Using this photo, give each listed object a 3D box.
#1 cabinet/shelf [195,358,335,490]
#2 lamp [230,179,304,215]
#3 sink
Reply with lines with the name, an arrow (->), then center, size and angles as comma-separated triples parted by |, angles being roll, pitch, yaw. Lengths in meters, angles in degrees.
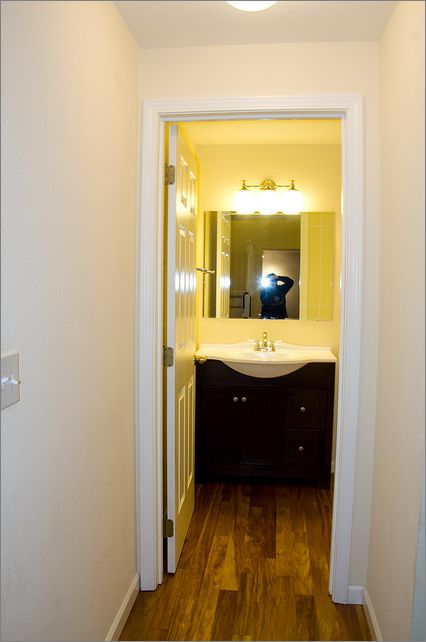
cabinet/shelf -> 0.313, 0.601, 2.786 | 0.574, 0.777, 0.273 | 1, 1, 5
lamp -> 0.370, -0.834, 3.068 | 0.459, 0.226, 0.117 | 1, 2, 9
sink -> 0.320, 0.257, 2.866 | 0.897, 0.187, 0.551 | 1, 3, 9
